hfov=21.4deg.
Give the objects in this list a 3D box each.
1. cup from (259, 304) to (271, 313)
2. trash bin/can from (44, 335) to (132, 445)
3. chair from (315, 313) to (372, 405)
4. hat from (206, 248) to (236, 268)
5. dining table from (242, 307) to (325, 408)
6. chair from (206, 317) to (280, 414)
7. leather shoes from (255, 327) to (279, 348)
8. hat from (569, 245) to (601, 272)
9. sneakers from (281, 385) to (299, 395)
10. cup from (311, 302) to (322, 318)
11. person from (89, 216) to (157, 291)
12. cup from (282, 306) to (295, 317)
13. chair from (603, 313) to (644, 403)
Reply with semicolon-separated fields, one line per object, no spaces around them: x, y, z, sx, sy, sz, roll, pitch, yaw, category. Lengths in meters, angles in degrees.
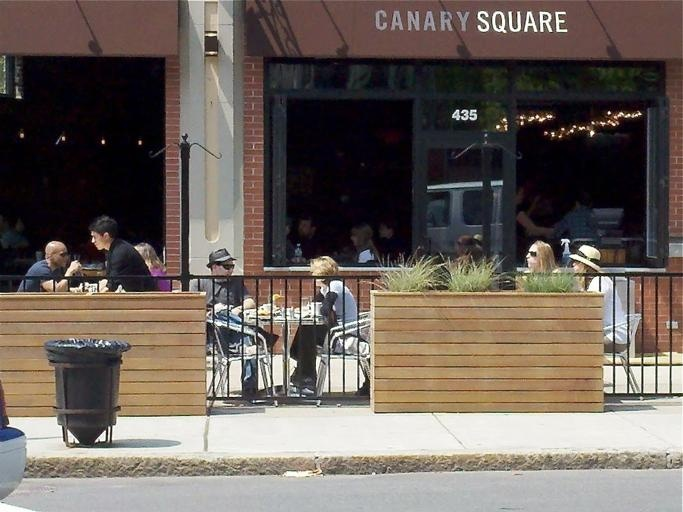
-1.070;0.731;24.610;0.176;0.187;0.123;0;3;-3;cup
-2.995;1.709;22.696;1.079;1.318;1.163;1;2;9;trash bin/can
0.008;1.384;24.352;0.906;1.401;1.089;2;-2;-5;chair
-1.787;0.029;26.071;0.319;0.133;0.266;-19;-12;40;hat
-0.825;1.416;24.492;1.085;1.158;1.146;1;-1;-12;dining table
-1.400;1.396;24.293;1.060;1.577;1.070;0;-2;-4;chair
-0.993;1.125;24.319;0.306;0.297;0.239;-3;-6;30;leather shoes
3.386;0.057;25.173;0.380;0.224;0.362;14;7;-21;hat
-0.692;1.866;24.498;0.168;0.131;0.185;-1;-8;18;sneakers
-0.395;0.755;24.317;0.213;0.226;0.144;-1;-2;10;cup
-2.978;-0.015;24.451;0.839;1.045;1.480;-1;-1;-10;person
-0.735;0.778;24.455;0.125;0.136;0.239;-3;0;0;cup
4.005;1.360;24.559;0.840;1.252;0.996;1;-4;2;chair
